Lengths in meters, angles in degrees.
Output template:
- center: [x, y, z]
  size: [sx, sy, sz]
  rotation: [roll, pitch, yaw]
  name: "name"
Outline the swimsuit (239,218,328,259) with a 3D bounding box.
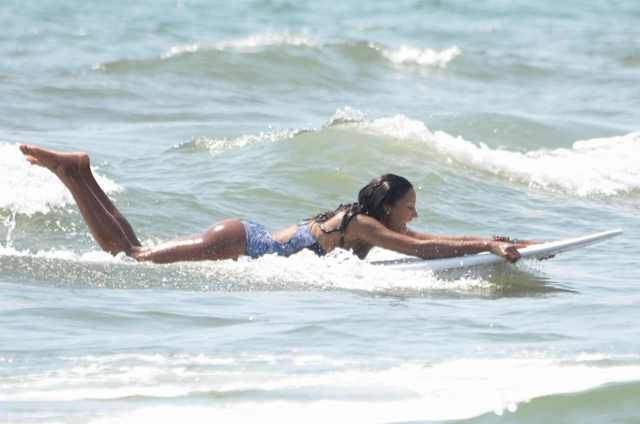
- center: [-0.615, 0.464, 21.090]
  size: [1.499, 0.422, 0.695]
  rotation: [4, 8, 0]
  name: "swimsuit"
